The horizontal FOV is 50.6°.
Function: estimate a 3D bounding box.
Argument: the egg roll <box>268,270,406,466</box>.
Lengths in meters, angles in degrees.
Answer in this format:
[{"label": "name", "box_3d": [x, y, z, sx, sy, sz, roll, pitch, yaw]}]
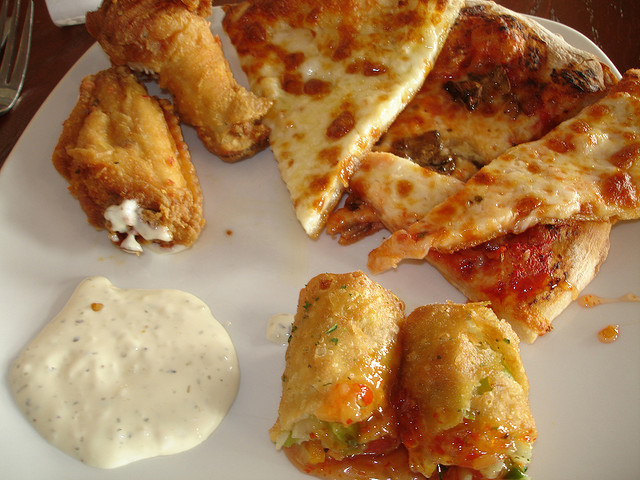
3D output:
[{"label": "egg roll", "box_3d": [0.128, 0.691, 3.840, 0.693, 0.418, 1.095, 3, 71, 3]}]

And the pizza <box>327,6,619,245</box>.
[{"label": "pizza", "box_3d": [0.791, -0.521, 4.011, 1.110, 0.304, 1.767, 34, 86, 14]}]

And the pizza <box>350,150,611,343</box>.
[{"label": "pizza", "box_3d": [0.892, -0.014, 4.212, 1.430, 0.343, 0.891, 40, 86, 3]}]
